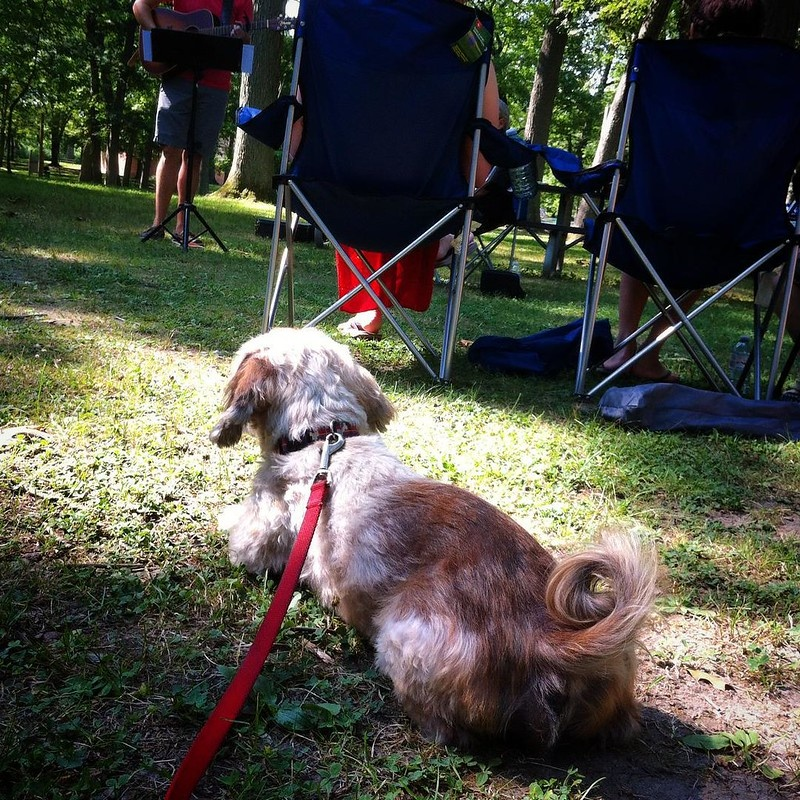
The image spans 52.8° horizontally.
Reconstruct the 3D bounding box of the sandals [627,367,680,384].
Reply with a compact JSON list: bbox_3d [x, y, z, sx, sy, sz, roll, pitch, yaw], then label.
[{"bbox_3d":[1.327,-0.122,4.559,0.319,0.144,0.121,1,0,5],"label":"sandals"}]

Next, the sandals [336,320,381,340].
[{"bbox_3d":[-0.293,-0.417,4.944,0.284,0.129,0.116,9,-12,-3],"label":"sandals"}]

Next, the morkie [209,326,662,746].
[{"bbox_3d":[-0.043,0.361,2.198,0.495,0.642,1.458,-5,28,-46],"label":"morkie"}]

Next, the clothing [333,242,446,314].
[{"bbox_3d":[-0.099,-0.711,4.829,0.387,0.640,0.482,0,6,7],"label":"clothing"}]
